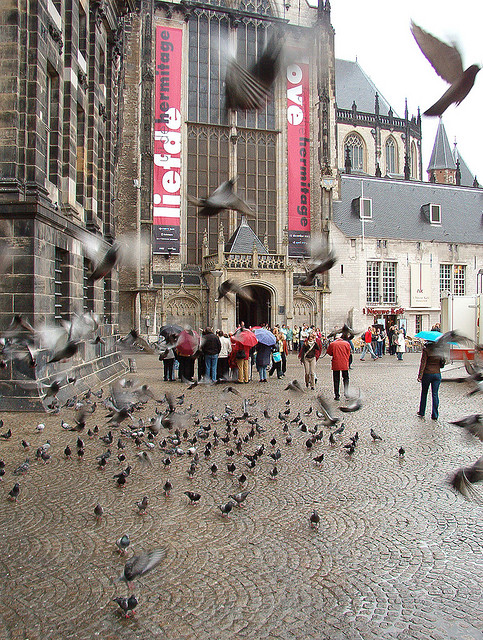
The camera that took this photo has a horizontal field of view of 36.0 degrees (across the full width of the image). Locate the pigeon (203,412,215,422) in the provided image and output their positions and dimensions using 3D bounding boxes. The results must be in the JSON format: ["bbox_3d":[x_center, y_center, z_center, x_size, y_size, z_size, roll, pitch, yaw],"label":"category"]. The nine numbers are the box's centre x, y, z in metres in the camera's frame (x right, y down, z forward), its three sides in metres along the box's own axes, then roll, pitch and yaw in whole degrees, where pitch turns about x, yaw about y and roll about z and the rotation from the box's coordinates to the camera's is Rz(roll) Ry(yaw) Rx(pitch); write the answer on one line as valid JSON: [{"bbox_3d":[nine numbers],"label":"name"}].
[{"bbox_3d":[-0.504,1.494,11.515,0.126,0.058,0.129,-24,1,32],"label":"pigeon"}]

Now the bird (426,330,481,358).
[{"bbox_3d":[3.582,0.365,12.357,0.980,0.439,1.027,-3,-11,12],"label":"bird"}]

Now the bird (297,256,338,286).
[{"bbox_3d":[0.807,-0.534,8.012,0.213,0.182,0.653,25,-23,-21],"label":"bird"}]

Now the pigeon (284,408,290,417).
[{"bbox_3d":[0.681,1.403,11.255,0.118,0.154,0.071,1,-5,23],"label":"pigeon"}]

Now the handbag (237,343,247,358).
[{"bbox_3d":[-0.015,0.737,18.414,0.271,0.577,0.302,-1,10,-5],"label":"handbag"}]

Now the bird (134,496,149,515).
[{"bbox_3d":[-0.922,1.646,6.647,0.074,0.185,0.225,3,-7,-31],"label":"bird"}]

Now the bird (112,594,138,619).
[{"bbox_3d":[-0.722,1.796,4.741,0.201,0.153,0.090,4,3,44],"label":"bird"}]

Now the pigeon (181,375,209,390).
[{"bbox_3d":[-1.077,1.426,17.165,0.459,0.166,0.289,7,-13,38],"label":"pigeon"}]

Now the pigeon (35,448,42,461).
[{"bbox_3d":[-2.362,1.558,8.662,0.063,0.175,0.103,6,2,-38],"label":"pigeon"}]

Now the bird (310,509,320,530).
[{"bbox_3d":[0.630,1.696,6.422,0.082,0.189,0.307,1,2,6],"label":"bird"}]

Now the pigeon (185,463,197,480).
[{"bbox_3d":[-0.546,1.617,8.012,0.086,0.179,0.227,1,2,-3],"label":"pigeon"}]

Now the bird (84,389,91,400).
[{"bbox_3d":[-2.803,1.330,13.516,0.141,0.204,0.094,5,-20,9],"label":"bird"}]

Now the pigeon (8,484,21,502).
[{"bbox_3d":[-2.141,1.618,7.023,0.086,0.198,0.222,1,1,-18],"label":"pigeon"}]

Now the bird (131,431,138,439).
[{"bbox_3d":[-1.359,1.455,9.469,0.058,0.087,0.030,2,-5,-26],"label":"bird"}]

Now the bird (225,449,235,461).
[{"bbox_3d":[-0.148,1.586,8.978,0.084,0.127,0.120,-2,-34,7],"label":"bird"}]

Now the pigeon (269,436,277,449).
[{"bbox_3d":[0.401,1.538,9.532,0.078,0.111,0.143,-1,-39,-1],"label":"pigeon"}]

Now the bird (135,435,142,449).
[{"bbox_3d":[-1.301,1.557,9.343,0.061,0.216,0.125,-8,16,-14],"label":"bird"}]

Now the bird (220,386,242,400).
[{"bbox_3d":[-0.278,1.449,15.541,0.302,0.236,0.754,6,-1,3],"label":"bird"}]

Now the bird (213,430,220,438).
[{"bbox_3d":[-0.334,1.484,9.677,0.045,0.059,0.141,-2,-39,2],"label":"bird"}]

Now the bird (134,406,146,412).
[{"bbox_3d":[-1.752,1.502,12.720,0.125,0.066,0.173,1,-2,-10],"label":"bird"}]

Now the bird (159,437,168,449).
[{"bbox_3d":[-0.997,1.555,9.407,0.085,0.100,0.219,1,-5,-7],"label":"bird"}]

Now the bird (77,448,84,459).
[{"bbox_3d":[-1.902,1.570,8.801,0.049,0.105,0.070,5,10,7],"label":"bird"}]

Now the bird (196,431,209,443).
[{"bbox_3d":[-0.510,1.549,9.945,0.078,0.156,0.210,-1,-31,16],"label":"bird"}]

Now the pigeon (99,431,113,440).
[{"bbox_3d":[-1.742,1.481,9.537,0.078,0.127,0.323,-42,0,-27],"label":"pigeon"}]

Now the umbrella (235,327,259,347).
[{"bbox_3d":[0.148,0.419,17.936,0.390,0.347,0.659,2,2,24],"label":"umbrella"}]

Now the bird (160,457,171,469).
[{"bbox_3d":[-0.849,1.631,8.531,0.074,0.115,0.051,-4,-6,44],"label":"bird"}]

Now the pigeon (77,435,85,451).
[{"bbox_3d":[-2.007,1.529,9.288,0.065,0.180,0.109,-26,-24,24],"label":"pigeon"}]

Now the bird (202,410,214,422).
[{"bbox_3d":[-0.525,1.498,11.680,0.068,0.132,0.178,-24,-14,11],"label":"bird"}]

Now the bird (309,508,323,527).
[{"bbox_3d":[0.628,1.690,6.376,0.067,0.136,0.190,-2,-16,4],"label":"bird"}]

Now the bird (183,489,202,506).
[{"bbox_3d":[-0.495,1.666,7.059,0.239,0.183,0.080,-3,-9,39],"label":"bird"}]

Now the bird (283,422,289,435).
[{"bbox_3d":[0.605,1.499,10.243,0.082,0.126,0.163,1,-5,1],"label":"bird"}]

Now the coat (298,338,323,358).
[{"bbox_3d":[1.528,0.610,16.575,0.383,0.593,0.541,2,-4,2],"label":"coat"}]

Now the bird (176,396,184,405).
[{"bbox_3d":[-1.072,1.377,12.867,0.104,0.183,0.338,1,2,-7],"label":"bird"}]

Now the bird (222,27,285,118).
[{"bbox_3d":[0.078,-1.673,5.114,0.321,0.728,0.298,-2,1,-18],"label":"bird"}]

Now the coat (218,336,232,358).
[{"bbox_3d":[-0.445,0.677,18.911,0.500,0.522,0.294,0,5,-14],"label":"coat"}]

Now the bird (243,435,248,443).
[{"bbox_3d":[0.050,1.528,9.611,0.047,0.112,0.131,1,1,0],"label":"bird"}]

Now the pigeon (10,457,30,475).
[{"bbox_3d":[-2.370,1.578,8.108,0.106,0.226,0.342,4,-5,10],"label":"pigeon"}]

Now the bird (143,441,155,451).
[{"bbox_3d":[-1.150,1.583,9.332,0.062,0.091,0.221,3,-6,-15],"label":"bird"}]

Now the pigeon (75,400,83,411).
[{"bbox_3d":[-2.571,1.371,11.915,0.107,0.242,0.321,3,9,-7],"label":"pigeon"}]

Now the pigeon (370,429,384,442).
[{"bbox_3d":[1.791,1.550,10.056,0.261,0.191,0.114,15,-27,-42],"label":"pigeon"}]

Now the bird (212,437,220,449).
[{"bbox_3d":[-0.329,1.560,9.514,0.048,0.100,0.156,4,-30,0],"label":"bird"}]

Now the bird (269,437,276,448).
[{"bbox_3d":[0.400,1.588,9.704,0.048,0.065,0.164,1,-44,-1],"label":"bird"}]

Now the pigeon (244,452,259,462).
[{"bbox_3d":[0.103,1.513,8.272,0.172,0.130,0.057,4,3,-38],"label":"pigeon"}]

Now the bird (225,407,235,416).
[{"bbox_3d":[-0.202,1.364,11.278,0.056,0.147,0.066,6,43,30],"label":"bird"}]

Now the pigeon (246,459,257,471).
[{"bbox_3d":[0.101,1.603,8.276,0.089,0.161,0.263,1,2,7],"label":"pigeon"}]

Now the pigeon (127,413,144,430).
[{"bbox_3d":[-1.465,1.427,10.446,0.217,0.228,0.419,30,-17,-1],"label":"pigeon"}]

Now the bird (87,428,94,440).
[{"bbox_3d":[-2.050,1.544,10.104,0.045,0.167,0.069,-2,23,-3],"label":"bird"}]

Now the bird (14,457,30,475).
[{"bbox_3d":[-2.390,1.574,8.079,0.151,0.189,0.349,1,2,-16],"label":"bird"}]

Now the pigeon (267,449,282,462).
[{"bbox_3d":[0.384,1.516,8.459,0.160,0.152,0.096,-9,-11,33],"label":"pigeon"}]

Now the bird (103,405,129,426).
[{"bbox_3d":[-1.425,1.100,8.570,0.188,0.193,0.392,1,2,-9],"label":"bird"}]

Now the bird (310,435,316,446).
[{"bbox_3d":[0.940,1.573,9.752,0.051,0.140,0.094,-8,32,4],"label":"bird"}]

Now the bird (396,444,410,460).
[{"bbox_3d":[1.966,1.600,9.093,0.107,0.146,0.321,-2,-12,9],"label":"bird"}]

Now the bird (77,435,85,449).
[{"bbox_3d":[-2.021,1.529,9.343,0.064,0.197,0.122,-9,6,6],"label":"bird"}]

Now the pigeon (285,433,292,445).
[{"bbox_3d":[0.611,1.588,9.816,0.059,0.175,0.109,4,40,5],"label":"pigeon"}]

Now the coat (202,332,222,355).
[{"bbox_3d":[-0.811,0.557,18.243,0.360,0.546,0.845,2,2,26],"label":"coat"}]

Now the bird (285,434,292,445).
[{"bbox_3d":[0.609,1.570,9.781,0.083,0.111,0.096,2,-11,0],"label":"bird"}]

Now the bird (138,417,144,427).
[{"bbox_3d":[-1.371,1.376,10.006,0.044,0.142,0.100,4,7,2],"label":"bird"}]

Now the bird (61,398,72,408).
[{"bbox_3d":[-3.059,1.432,13.040,0.118,0.178,0.396,-19,2,-10],"label":"bird"}]
